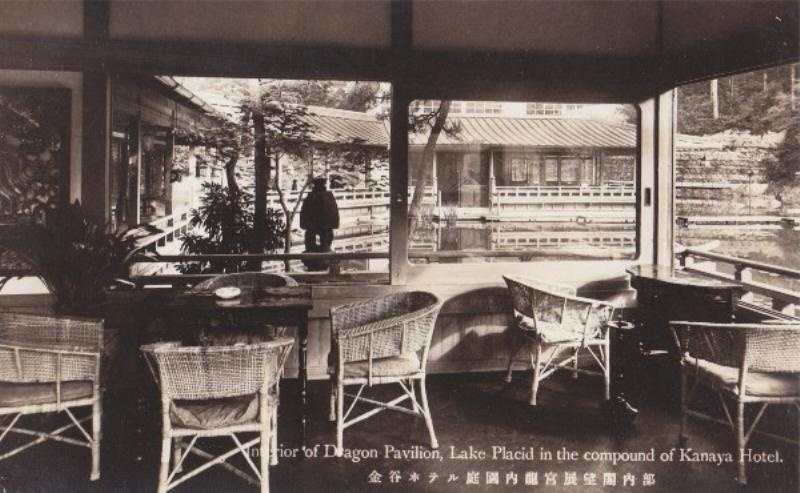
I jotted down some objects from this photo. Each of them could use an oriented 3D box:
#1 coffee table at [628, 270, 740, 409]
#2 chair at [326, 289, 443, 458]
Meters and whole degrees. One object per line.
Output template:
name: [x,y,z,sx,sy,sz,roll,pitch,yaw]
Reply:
coffee table: [2.316,0.802,7.353,0.420,0.990,1.030,1,2,-6]
chair: [-0.117,1.021,7.270,1.129,1.556,1.207,2,1,-11]
